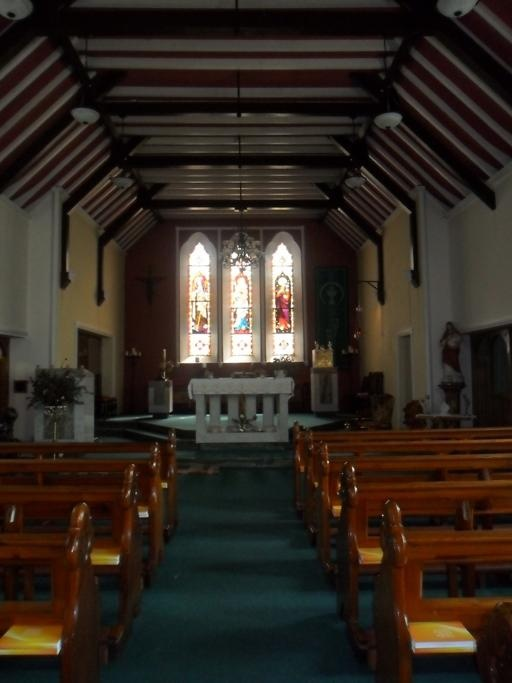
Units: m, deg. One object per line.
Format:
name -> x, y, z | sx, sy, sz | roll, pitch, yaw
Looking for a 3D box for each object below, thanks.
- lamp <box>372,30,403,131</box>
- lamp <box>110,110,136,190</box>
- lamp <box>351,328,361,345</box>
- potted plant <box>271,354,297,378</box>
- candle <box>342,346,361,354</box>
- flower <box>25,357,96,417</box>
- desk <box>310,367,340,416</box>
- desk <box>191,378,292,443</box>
lamp -> 1.382, -2.835, 7.057 | 0.267, 1.060, 0.266 | -3, 2, -1
lamp -> -1.898, -2.612, 9.651 | 0.457, 0.989, 1.280 | 0, -4, -13
lamp -> 2.183, -0.117, 14.210 | 0.110, 0.309, 0.338 | 0, -5, -22
potted plant -> 0.622, 0.573, 13.795 | 0.602, 0.589, 0.333 | -2, -7, 10
candle -> 2.021, 0.195, 14.266 | 0.345, 0.192, 0.139 | -2, -4, 6
flower -> -2.471, 0.589, 8.288 | 0.597, 0.516, 0.607 | -2, -4, 8
desk -> 1.418, 0.980, 13.223 | 0.635, 0.937, 0.639 | -4, -6, 38
desk -> -0.231, 1.045, 8.627 | 1.312, 0.918, 0.798 | 1, -24, -11
